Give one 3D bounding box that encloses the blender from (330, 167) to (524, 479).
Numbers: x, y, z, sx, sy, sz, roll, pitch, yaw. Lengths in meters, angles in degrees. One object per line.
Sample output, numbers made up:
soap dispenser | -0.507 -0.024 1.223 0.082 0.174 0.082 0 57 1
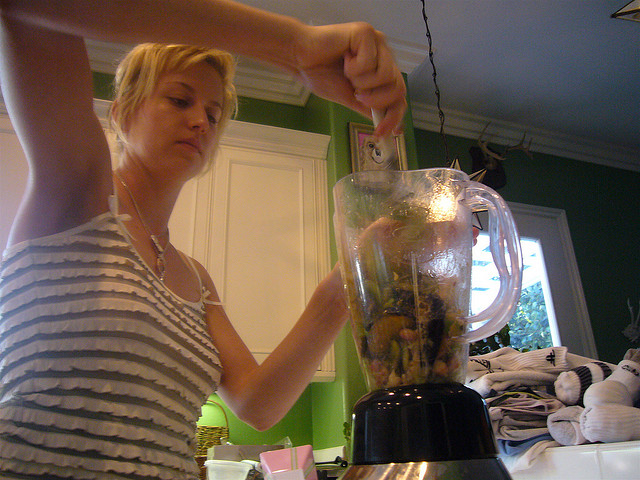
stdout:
blender | 0.150 0.108 0.746 0.264 0.424 0.118 1 -16 0
